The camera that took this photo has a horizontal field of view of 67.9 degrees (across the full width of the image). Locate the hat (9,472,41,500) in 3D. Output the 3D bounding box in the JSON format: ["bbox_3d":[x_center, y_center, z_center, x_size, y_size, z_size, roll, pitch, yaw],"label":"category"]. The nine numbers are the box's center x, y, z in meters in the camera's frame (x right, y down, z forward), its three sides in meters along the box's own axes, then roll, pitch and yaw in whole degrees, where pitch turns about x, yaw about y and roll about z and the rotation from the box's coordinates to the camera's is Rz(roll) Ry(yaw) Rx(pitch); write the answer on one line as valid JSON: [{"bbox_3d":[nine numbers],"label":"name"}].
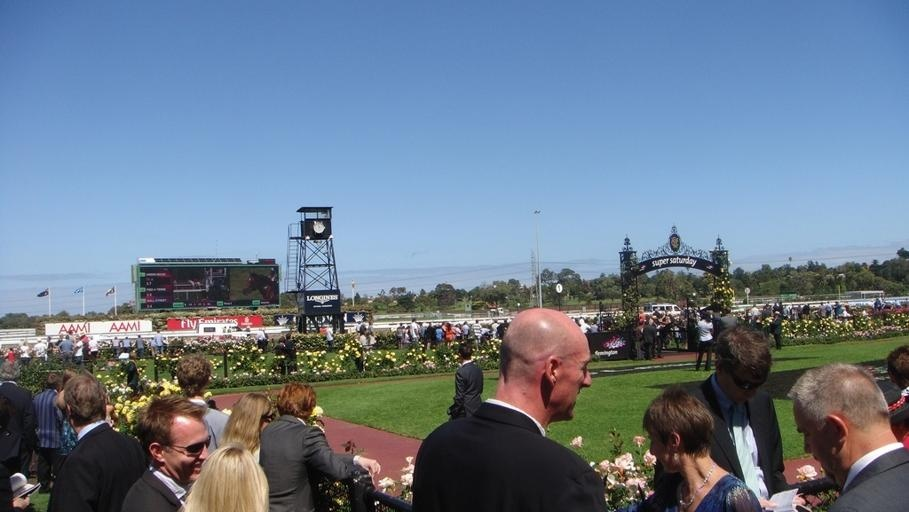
[{"bbox_3d":[-6.636,3.537,10.355,0.342,0.409,0.882,0,-8,-32],"label":"hat"}]

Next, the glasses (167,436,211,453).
[{"bbox_3d":[-2.938,2.055,7.356,0.242,0.068,0.236,-1,-1,36],"label":"glasses"}]

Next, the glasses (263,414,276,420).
[{"bbox_3d":[-2.465,2.132,8.927,0.103,0.053,0.079,-4,-5,34],"label":"glasses"}]
